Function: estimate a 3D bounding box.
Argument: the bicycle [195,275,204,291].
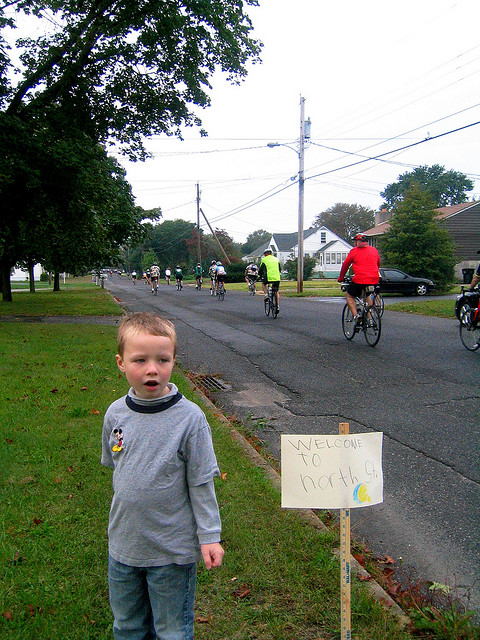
[{"bbox_3d":[-2.395,-2.177,32.759,0.581,0.873,1.227,1,6,-2],"label":"bicycle"}]

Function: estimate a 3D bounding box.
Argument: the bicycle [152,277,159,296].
[{"bbox_3d":[-4.338,-1.658,28.423,0.322,0.499,0.747,1,9,-4],"label":"bicycle"}]

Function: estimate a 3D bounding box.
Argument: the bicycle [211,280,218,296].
[{"bbox_3d":[-1.204,-1.525,25.953,0.254,0.694,0.899,1,6,-5],"label":"bicycle"}]

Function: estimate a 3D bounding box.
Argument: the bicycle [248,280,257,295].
[{"bbox_3d":[0.590,-1.410,25.227,0.351,0.506,0.693,-1,5,-1],"label":"bicycle"}]

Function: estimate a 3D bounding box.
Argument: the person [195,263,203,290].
[{"bbox_3d":[-2.378,-2.666,32.968,0.866,1.401,1.913,1,12,-3],"label":"person"}]

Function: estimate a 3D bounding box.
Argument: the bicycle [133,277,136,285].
[{"bbox_3d":[-10.068,-3.576,53.036,0.185,0.284,0.446,1,41,-5],"label":"bicycle"}]

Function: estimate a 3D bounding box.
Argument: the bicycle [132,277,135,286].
[{"bbox_3d":[-10.228,-3.621,53.311,0.266,0.426,0.618,1,23,-7],"label":"bicycle"}]

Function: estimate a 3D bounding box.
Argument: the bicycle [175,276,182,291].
[{"bbox_3d":[-3.572,-2.097,32.714,0.366,0.608,0.862,1,8,-5],"label":"bicycle"}]

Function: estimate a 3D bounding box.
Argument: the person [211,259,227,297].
[{"bbox_3d":[-0.841,-1.772,23.248,0.785,1.412,1.998,0,3,-1],"label":"person"}]

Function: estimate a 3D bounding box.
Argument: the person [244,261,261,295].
[{"bbox_3d":[0.529,-1.906,24.808,0.657,1.039,1.532,-1,8,1],"label":"person"}]

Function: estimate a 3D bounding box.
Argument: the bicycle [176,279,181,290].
[{"bbox_3d":[-3.617,-2.064,32.807,0.264,0.430,0.612,0,2,-4],"label":"bicycle"}]

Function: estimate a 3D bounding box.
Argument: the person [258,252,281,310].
[{"bbox_3d":[0.819,-1.092,15.155,0.515,1.694,0.699,2,-6,-34],"label":"person"}]

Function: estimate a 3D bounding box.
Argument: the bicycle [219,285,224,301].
[{"bbox_3d":[-0.727,-1.108,22.009,0.175,0.558,0.691,1,6,-4],"label":"bicycle"}]

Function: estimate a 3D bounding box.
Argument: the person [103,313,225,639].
[{"bbox_3d":[-0.281,0.595,1.986,0.499,1.195,0.343,3,6,11],"label":"person"}]

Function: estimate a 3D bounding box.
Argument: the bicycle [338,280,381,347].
[{"bbox_3d":[2.167,-0.127,9.704,0.549,1.037,1.492,-4,8,-1],"label":"bicycle"}]
